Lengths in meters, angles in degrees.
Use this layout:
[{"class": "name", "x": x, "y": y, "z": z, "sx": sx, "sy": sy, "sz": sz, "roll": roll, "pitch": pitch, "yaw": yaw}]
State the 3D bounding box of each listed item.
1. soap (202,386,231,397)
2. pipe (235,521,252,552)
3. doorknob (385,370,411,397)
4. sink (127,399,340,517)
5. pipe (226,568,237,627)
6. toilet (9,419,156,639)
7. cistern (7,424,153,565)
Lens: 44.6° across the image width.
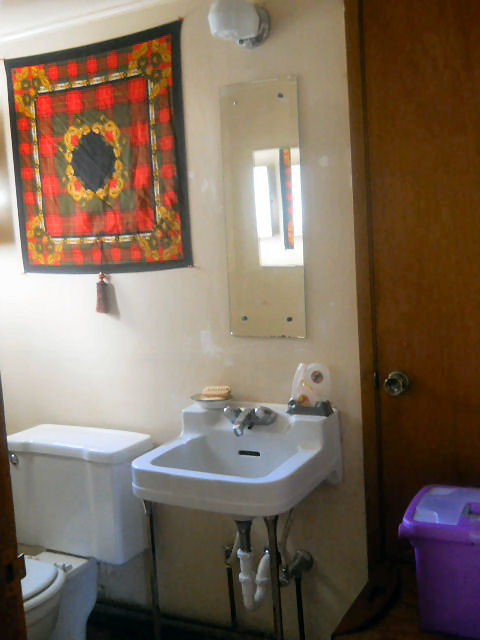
[{"class": "soap", "x": -0.076, "y": 0.235, "z": 1.883, "sx": 0.087, "sy": 0.026, "sz": 0.053, "roll": -5, "pitch": 5, "yaw": 23}, {"class": "pipe", "x": 0.014, "y": 0.595, "z": 1.610, "sx": 0.038, "sy": 0.100, "sz": 0.039, "roll": -5, "pitch": 5, "yaw": -3}, {"class": "doorknob", "x": 0.429, "y": 0.179, "z": 1.588, "sx": 0.066, "sy": 0.074, "sz": 0.053, "roll": -3, "pitch": 5, "yaw": 27}, {"class": "sink", "x": -0.001, "y": 0.429, "z": 1.674, "sx": 0.485, "sy": 0.306, "sz": 0.483, "roll": -4, "pitch": 6, "yaw": 29}, {"class": "pipe", "x": -0.023, "y": 0.938, "z": 1.970, "sx": 0.020, "sy": 0.200, "sz": 0.022, "roll": -4, "pitch": -18, "yaw": -14}, {"class": "toilet", "x": -0.564, "y": 0.785, "z": 2.064, "sx": 0.539, "sy": 0.762, "sz": 0.349, "roll": -3, "pitch": 5, "yaw": 27}, {"class": "cistern", "x": -0.525, "y": 0.590, "z": 1.926, "sx": 0.473, "sy": 0.439, "sz": 0.300, "roll": 5, "pitch": 13, "yaw": 28}]
